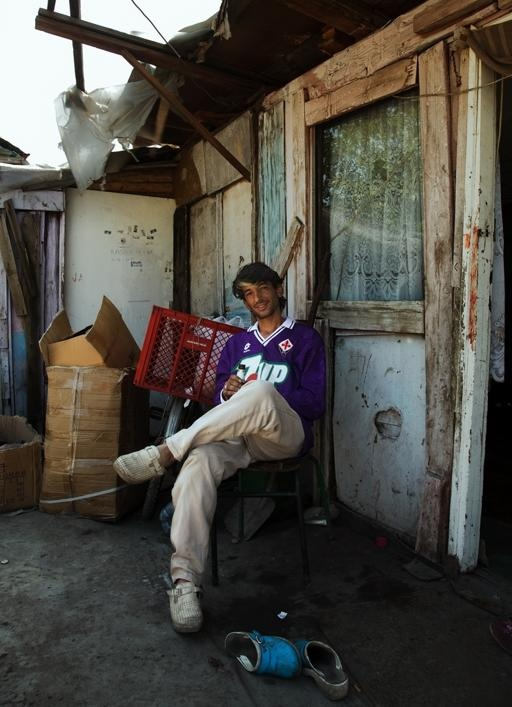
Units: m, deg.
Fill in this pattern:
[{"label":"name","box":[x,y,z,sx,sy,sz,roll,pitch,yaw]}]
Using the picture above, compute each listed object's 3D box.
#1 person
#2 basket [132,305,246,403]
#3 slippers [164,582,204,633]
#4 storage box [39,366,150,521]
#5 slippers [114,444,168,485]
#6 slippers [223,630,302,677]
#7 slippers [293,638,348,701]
[{"label":"person","box":[-0.101,0.270,2.310,0.568,1.409,1.028,0,1,30]},{"label":"basket","box":[-0.363,0.005,3.056,0.689,0.514,0.379,20,-11,-7]},{"label":"slippers","box":[-0.245,0.873,1.866,0.108,0.147,0.109,-1,1,-12]},{"label":"storage box","box":[-0.967,0.502,3.447,0.525,0.894,0.835,2,3,6]},{"label":"slippers","box":[-0.447,0.428,2.134,0.214,0.108,0.093,-15,7,-6]},{"label":"slippers","box":[0.019,0.917,1.690,0.229,0.102,0.085,-4,-17,40]},{"label":"slippers","box":[0.206,0.947,1.626,0.067,0.066,0.177,-6,1,-11]}]
